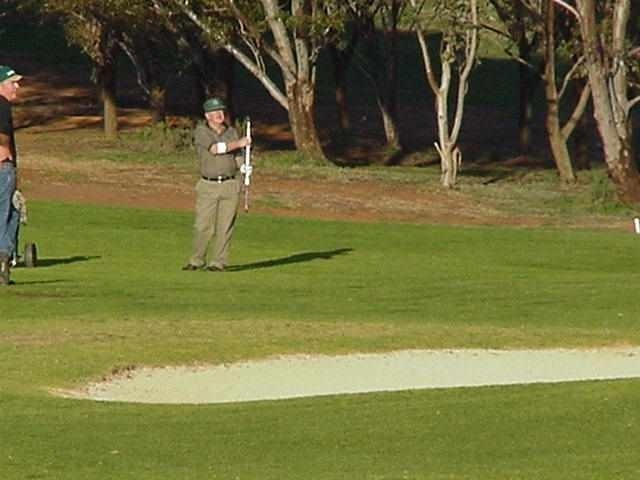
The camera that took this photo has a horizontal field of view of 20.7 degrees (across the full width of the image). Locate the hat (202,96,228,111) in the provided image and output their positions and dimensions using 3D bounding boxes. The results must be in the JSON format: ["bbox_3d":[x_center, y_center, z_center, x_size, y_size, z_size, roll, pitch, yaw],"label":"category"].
[{"bbox_3d":[-2.243,-2.896,37.266,0.374,0.164,0.284,-11,-7,-43],"label":"hat"}]
